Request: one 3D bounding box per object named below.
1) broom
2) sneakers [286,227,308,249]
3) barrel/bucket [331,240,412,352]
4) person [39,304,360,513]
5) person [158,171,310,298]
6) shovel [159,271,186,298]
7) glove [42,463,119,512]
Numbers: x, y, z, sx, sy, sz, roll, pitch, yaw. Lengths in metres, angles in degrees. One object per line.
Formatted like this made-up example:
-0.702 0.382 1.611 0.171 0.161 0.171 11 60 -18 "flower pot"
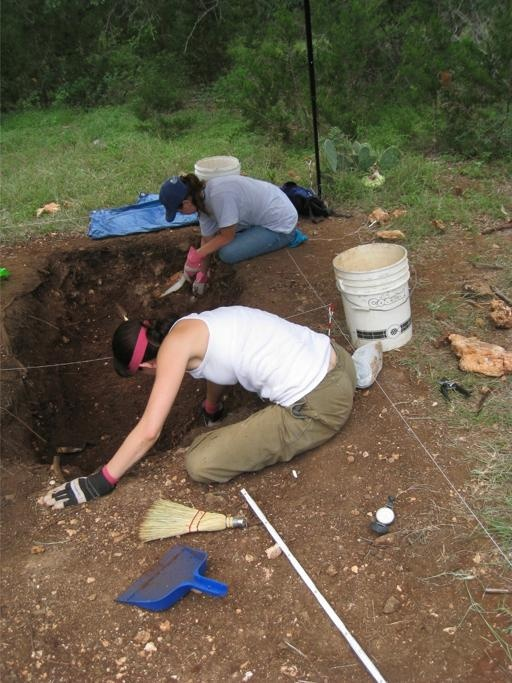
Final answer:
-0.302 0.834 2.977 0.508 0.098 0.189 -5 24 0 "broom"
0.342 -0.842 5.167 0.166 0.071 0.158 -21 44 35 "sneakers"
0.689 -0.237 3.667 0.428 0.556 0.569 -3 25 7 "barrel/bucket"
-0.058 0.287 3.290 1.562 0.995 0.978 6 30 21 "person"
-0.240 -0.828 4.792 0.603 1.027 1.232 12 30 35 "person"
-0.720 -0.479 5.414 0.275 0.062 0.088 -16 29 46 "shovel"
-0.871 0.743 3.210 0.474 0.146 0.220 -16 -9 6 "glove"
